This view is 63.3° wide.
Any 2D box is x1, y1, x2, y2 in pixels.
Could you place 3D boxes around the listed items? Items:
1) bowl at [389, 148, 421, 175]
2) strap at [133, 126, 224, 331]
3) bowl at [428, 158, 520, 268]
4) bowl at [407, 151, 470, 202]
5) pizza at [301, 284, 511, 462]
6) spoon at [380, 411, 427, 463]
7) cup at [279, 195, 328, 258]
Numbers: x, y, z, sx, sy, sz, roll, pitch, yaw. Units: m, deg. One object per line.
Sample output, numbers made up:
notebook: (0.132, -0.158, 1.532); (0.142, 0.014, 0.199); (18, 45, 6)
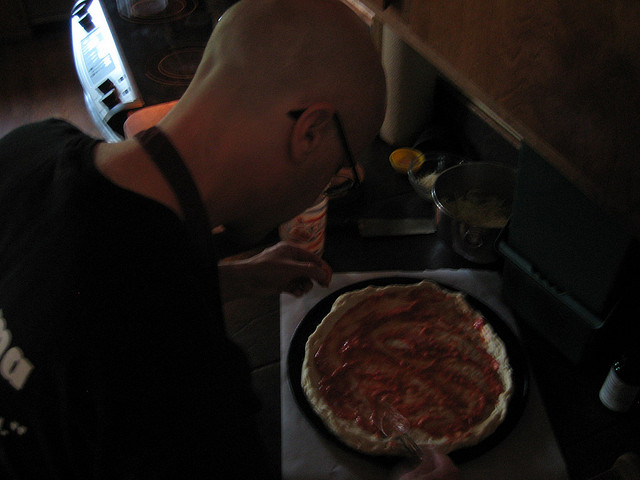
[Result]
bowl: (0.262, -0.242, 1.593); (0.076, 0.048, 0.079); (-10, 55, 15)
strap: (-0.215, -0.025, 0.939); (0.055, 0.324, 0.176); (-13, 13, -18)
bowl: (0.380, -0.084, 1.291); (0.192, 0.139, 0.267); (13, 51, 17)
bowl: (0.314, -0.203, 1.488); (0.143, 0.087, 0.153); (-3, 49, 3)
pizza: (0.196, 0.300, 1.153); (0.455, 0.087, 0.499); (-20, 15, -11)
spoon: (0.164, 0.385, 1.011); (0.065, 0.017, 0.122); (-10, 38, -41)
cup: (-0.041, -0.044, 1.389); (0.120, 0.204, 0.128); (5, 40, -4)
